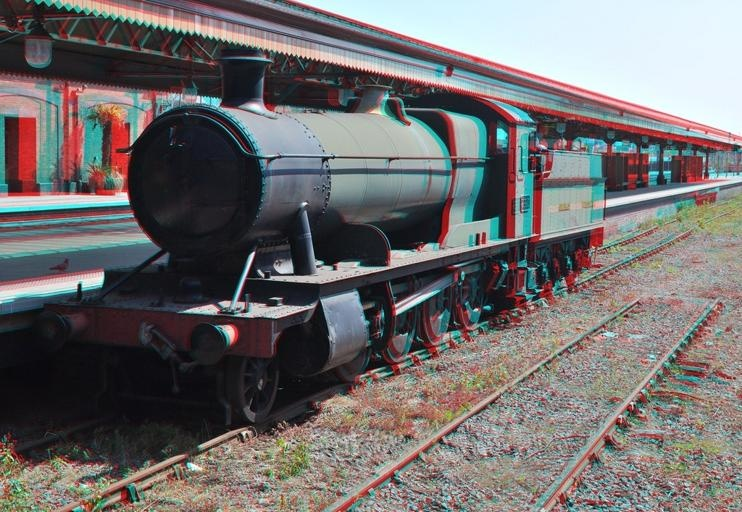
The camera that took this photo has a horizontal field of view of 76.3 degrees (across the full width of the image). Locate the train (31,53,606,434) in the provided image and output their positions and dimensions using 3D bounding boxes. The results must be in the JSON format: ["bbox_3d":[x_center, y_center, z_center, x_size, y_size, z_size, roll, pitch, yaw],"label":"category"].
[{"bbox_3d":[0.856,-0.864,9.457,4.327,3.853,11.120,5,8,29],"label":"train"}]
